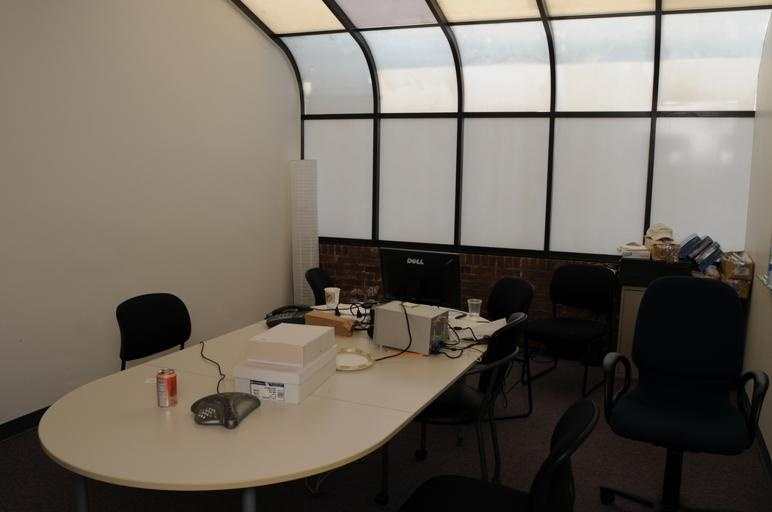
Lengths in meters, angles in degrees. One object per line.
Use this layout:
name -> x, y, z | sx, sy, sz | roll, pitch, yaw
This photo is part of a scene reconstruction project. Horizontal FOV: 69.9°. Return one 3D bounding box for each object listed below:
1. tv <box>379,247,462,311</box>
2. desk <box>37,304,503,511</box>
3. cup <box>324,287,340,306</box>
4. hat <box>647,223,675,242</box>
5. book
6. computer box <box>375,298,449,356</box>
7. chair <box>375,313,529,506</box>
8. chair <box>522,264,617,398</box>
tv -> 0.279, 0.195, 4.528 | 0.508, 0.510, 0.168 | 5, 21, 19
desk -> -0.832, 0.945, 3.528 | 2.428, 0.482, 1.365 | 3, 7, 2
cup -> -0.484, 0.350, 4.864 | 0.149, 0.140, 0.150 | 0, 1, 0
hat -> 2.859, -0.257, 5.764 | 0.181, 0.133, 0.239 | -2, 5, -18
book -> 2.997, -0.043, 5.545 | 0.554, 0.200, 0.542 | -5, 9, -25
computer box -> 0.194, 0.496, 4.122 | 0.410, 0.265, 0.391 | 6, 9, 25
chair -> 0.628, 0.914, 4.876 | 1.252, 2.013, 1.355 | 4, 7, 22
chair -> 1.894, 0.722, 5.740 | 0.771, 1.227, 0.906 | 3, 8, 36
